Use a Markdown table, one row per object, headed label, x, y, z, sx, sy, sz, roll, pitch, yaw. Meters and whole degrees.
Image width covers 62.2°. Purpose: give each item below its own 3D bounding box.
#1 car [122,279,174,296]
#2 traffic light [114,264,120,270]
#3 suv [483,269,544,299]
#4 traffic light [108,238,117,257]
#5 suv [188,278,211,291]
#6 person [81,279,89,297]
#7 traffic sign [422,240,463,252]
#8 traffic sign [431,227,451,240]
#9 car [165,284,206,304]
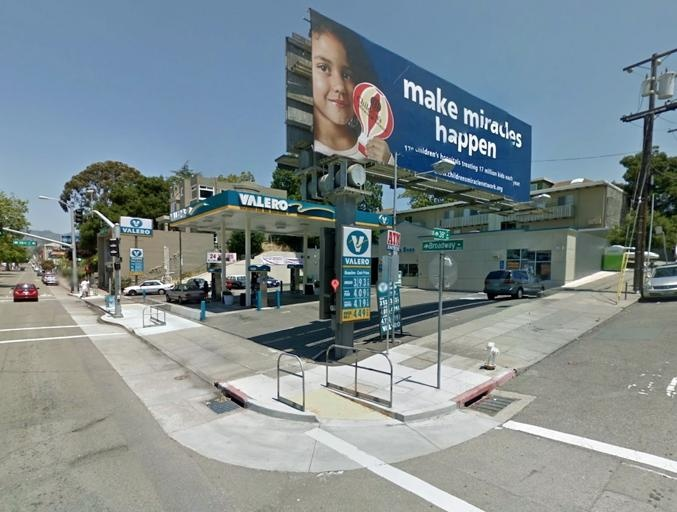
| label | x | y | z | sx | sy | sz | roll | pitch | yaw |
| --- | --- | --- | --- | --- | --- | --- | --- | --- | --- |
| car | -14.375 | 2.408 | 41.937 | 2.282 | 1.038 | 3.057 | -1 | 0 | 28 |
| traffic light | -11.031 | 0.518 | 27.869 | 0.235 | 0.319 | 0.364 | -1 | 0 | -27 |
| suv | 9.406 | 1.487 | 29.710 | 2.600 | 1.049 | 1.465 | -3 | 2 | -39 |
| traffic light | -11.065 | -0.404 | 27.666 | 0.327 | 0.828 | 0.632 | -1 | 0 | 22 |
| suv | -9.884 | 2.105 | 40.031 | 1.230 | 0.847 | 1.807 | 3 | 8 | -31 |
| person | -19.048 | 2.475 | 42.090 | 0.519 | 1.330 | 2.195 | -1 | 0 | -25 |
| traffic sign | 3.180 | -0.326 | 17.171 | 1.281 | 0.237 | 0.590 | -1 | 0 | 38 |
| traffic sign | 3.161 | -0.686 | 17.148 | 0.497 | 0.365 | 0.474 | -1 | 0 | 11 |
| car | -9.515 | 2.340 | 34.197 | 1.113 | 0.866 | 2.583 | 2 | 1 | -43 |
